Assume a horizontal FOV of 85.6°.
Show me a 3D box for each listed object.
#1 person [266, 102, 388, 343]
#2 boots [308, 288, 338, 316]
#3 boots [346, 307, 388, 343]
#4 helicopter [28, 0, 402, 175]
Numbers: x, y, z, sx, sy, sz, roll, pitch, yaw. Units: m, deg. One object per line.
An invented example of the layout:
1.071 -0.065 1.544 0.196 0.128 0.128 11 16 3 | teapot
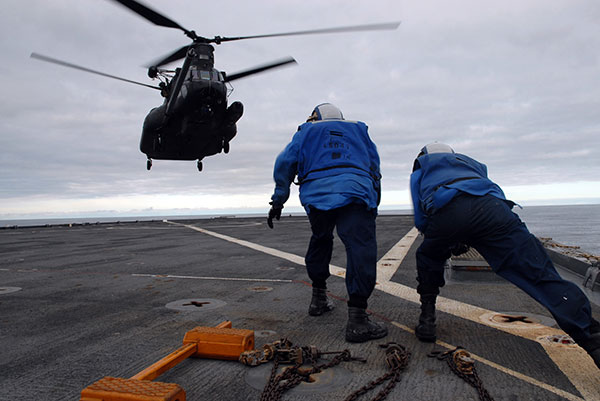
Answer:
0.365 0.118 3.542 1.304 2.433 0.839 2 4 33 | person
0.244 1.193 3.844 0.195 0.253 0.495 0 1 33 | boots
0.690 1.233 3.254 0.608 0.283 0.199 9 -7 -35 | boots
-5.680 -3.897 16.372 10.213 3.092 9.956 0 2 -14 | helicopter
